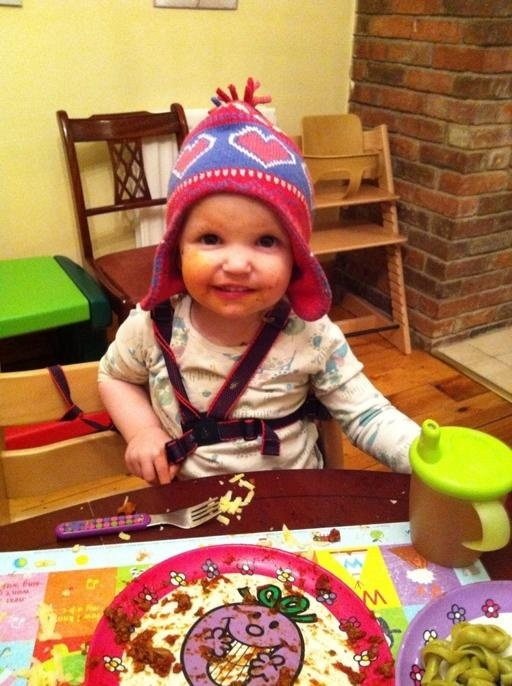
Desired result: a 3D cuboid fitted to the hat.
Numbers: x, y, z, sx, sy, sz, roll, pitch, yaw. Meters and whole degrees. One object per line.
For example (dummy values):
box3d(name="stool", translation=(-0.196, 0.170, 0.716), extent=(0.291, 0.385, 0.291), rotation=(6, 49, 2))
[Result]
box3d(name="hat", translation=(-0.033, -0.185, 0.778), extent=(0.240, 0.324, 0.244), rotation=(-25, 35, -34))
